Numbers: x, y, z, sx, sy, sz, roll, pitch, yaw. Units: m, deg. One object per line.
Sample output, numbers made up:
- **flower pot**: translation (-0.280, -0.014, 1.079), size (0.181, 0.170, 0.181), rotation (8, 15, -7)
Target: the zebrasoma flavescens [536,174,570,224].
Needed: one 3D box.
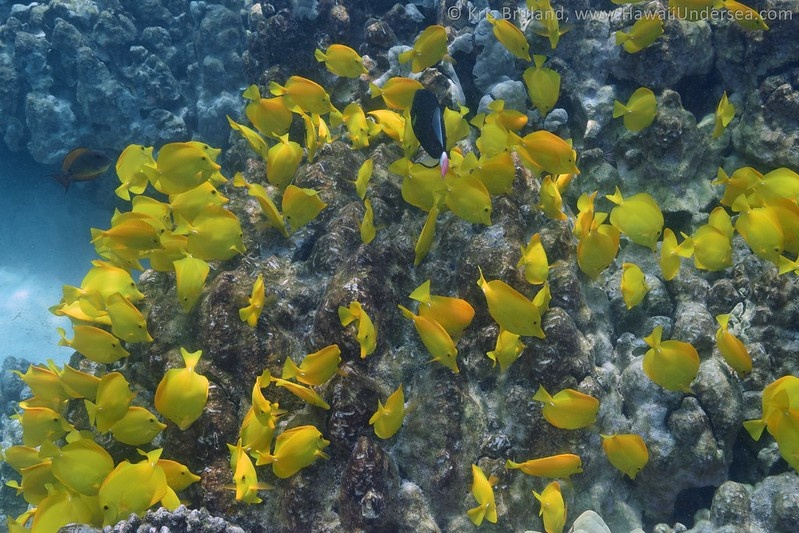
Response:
- **zebrasoma flavescens**: translation (2.326, -1.037, 16.998), size (0.298, 0.680, 0.437), rotation (-27, -27, 31)

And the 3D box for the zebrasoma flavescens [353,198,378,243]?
- **zebrasoma flavescens**: translation (-0.533, -0.689, 16.979), size (0.362, 0.670, 0.276), rotation (-2, -6, 4)

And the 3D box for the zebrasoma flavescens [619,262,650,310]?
- **zebrasoma flavescens**: translation (3.591, 0.248, 16.752), size (0.281, 0.752, 0.372), rotation (13, -17, -5)

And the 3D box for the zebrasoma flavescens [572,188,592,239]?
- **zebrasoma flavescens**: translation (2.823, -0.767, 16.762), size (0.267, 0.606, 0.388), rotation (10, 15, -13)

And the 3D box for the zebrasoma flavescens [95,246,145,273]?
- **zebrasoma flavescens**: translation (-4.422, -0.105, 17.043), size (0.590, 0.310, 0.148), rotation (22, 19, -8)

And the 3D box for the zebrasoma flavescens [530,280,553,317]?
- **zebrasoma flavescens**: translation (2.190, 0.494, 16.863), size (0.239, 0.624, 0.385), rotation (1, 37, 9)
